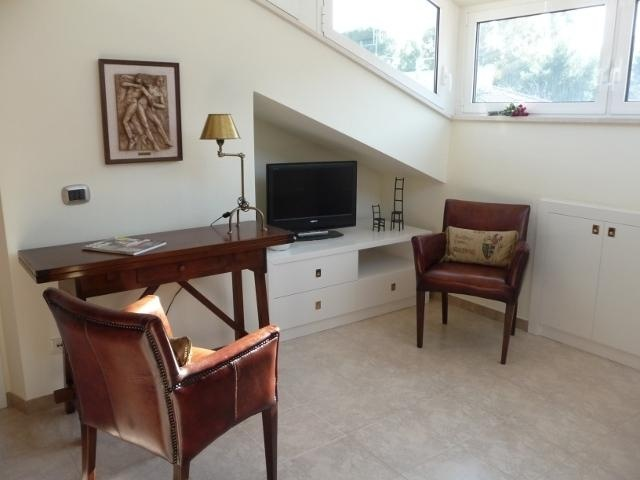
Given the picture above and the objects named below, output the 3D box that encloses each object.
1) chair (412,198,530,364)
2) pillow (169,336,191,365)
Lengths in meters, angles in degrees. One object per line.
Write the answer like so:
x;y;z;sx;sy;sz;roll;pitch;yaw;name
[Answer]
1.159;0.278;3.696;0.805;1.114;0.709;5;13;25;chair
-0.631;0.498;2.140;0.031;0.113;0.092;-4;8;-40;pillow
